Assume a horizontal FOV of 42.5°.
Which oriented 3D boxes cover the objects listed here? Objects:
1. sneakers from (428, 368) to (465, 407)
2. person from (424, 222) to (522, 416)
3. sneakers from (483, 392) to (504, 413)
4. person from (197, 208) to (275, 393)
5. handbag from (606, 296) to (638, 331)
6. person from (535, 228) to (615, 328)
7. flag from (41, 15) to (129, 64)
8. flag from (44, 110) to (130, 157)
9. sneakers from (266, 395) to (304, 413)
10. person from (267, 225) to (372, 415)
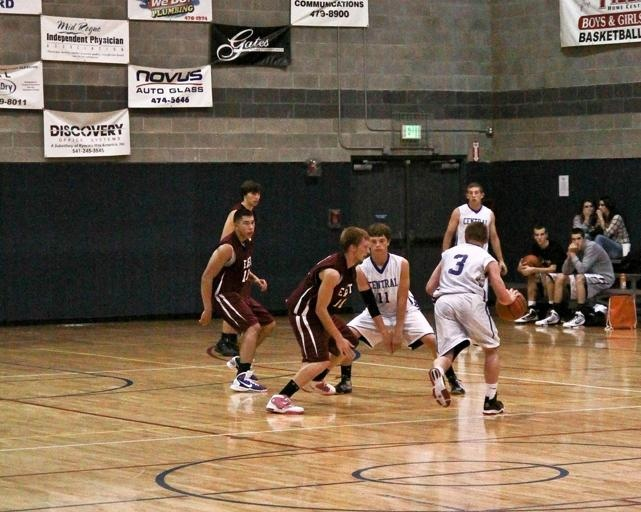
[{"bbox_3d":[1.088,1.163,7.198,0.113,0.345,0.149,-24,22,2],"label":"sneakers"},{"bbox_3d":[1.248,0.517,6.817,0.641,1.590,0.743,0,2,13],"label":"person"},{"bbox_3d":[1.446,1.222,6.863,0.204,0.175,0.183,-1,2,-4],"label":"sneakers"},{"bbox_3d":[-0.836,0.421,8.276,0.618,1.838,0.606,3,13,12],"label":"person"},{"bbox_3d":[4.642,0.877,12.794,0.413,0.525,0.525,0,-2,7],"label":"handbag"},{"bbox_3d":[4.082,0.342,13.126,1.244,1.466,0.823,-5,3,-19],"label":"person"},{"bbox_3d":[-3.952,-3.629,13.786,1.403,0.722,0.079,-1,3,-17],"label":"flag"},{"bbox_3d":[-3.934,-2.072,13.816,1.404,0.942,0.040,-4,43,-21],"label":"flag"},{"bbox_3d":[-0.324,1.259,6.973,0.351,0.192,0.133,4,-1,-1],"label":"sneakers"},{"bbox_3d":[0.042,0.542,7.081,0.886,1.579,0.867,1,3,28],"label":"person"}]
